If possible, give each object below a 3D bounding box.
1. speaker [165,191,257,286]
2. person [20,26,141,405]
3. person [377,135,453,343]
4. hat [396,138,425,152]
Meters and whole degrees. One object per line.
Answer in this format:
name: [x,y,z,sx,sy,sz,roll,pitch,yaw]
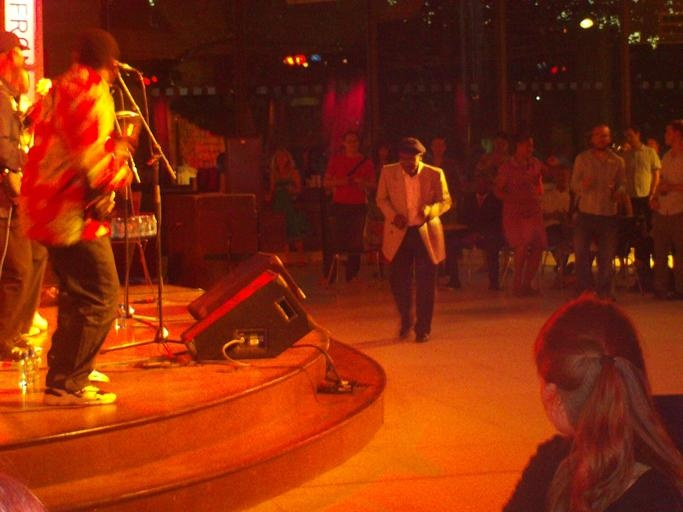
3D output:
speaker: [-1.282,-0.162,7.485,0.648,1.489,0.732,2,13,9]
person: [-1.275,-0.083,3.597,0.475,1.626,0.272,0,6,9]
person: [0.606,-0.123,6.372,0.607,1.698,0.365,0,6,1]
hat: [0.592,-0.933,6.482,0.213,0.127,0.551,0,8,4]
